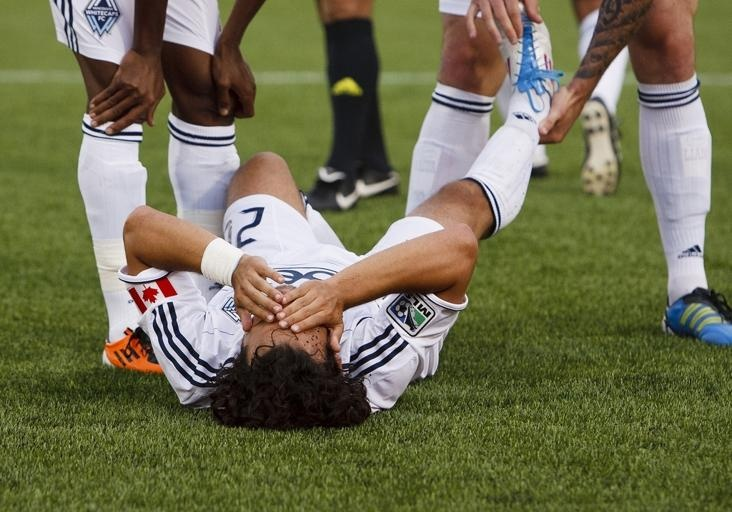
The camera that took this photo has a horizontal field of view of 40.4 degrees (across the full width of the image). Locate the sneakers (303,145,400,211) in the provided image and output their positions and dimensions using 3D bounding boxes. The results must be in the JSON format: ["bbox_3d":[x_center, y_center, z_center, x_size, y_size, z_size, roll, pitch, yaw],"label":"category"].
[{"bbox_3d":[-0.092,-0.434,5.632,0.613,0.257,0.207,-13,21,-40],"label":"sneakers"}]

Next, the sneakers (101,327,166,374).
[{"bbox_3d":[-0.859,0.340,3.607,0.259,0.130,0.108,5,10,12],"label":"sneakers"}]

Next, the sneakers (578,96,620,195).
[{"bbox_3d":[1.283,-0.570,5.441,0.195,0.562,0.242,0,39,15],"label":"sneakers"}]

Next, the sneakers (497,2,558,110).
[{"bbox_3d":[0.605,-0.723,3.739,0.158,0.431,0.168,-6,6,8],"label":"sneakers"}]

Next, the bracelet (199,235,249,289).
[{"bbox_3d":[-0.473,0.020,3.260,0.136,0.145,0.062,29,7,3],"label":"bracelet"}]
